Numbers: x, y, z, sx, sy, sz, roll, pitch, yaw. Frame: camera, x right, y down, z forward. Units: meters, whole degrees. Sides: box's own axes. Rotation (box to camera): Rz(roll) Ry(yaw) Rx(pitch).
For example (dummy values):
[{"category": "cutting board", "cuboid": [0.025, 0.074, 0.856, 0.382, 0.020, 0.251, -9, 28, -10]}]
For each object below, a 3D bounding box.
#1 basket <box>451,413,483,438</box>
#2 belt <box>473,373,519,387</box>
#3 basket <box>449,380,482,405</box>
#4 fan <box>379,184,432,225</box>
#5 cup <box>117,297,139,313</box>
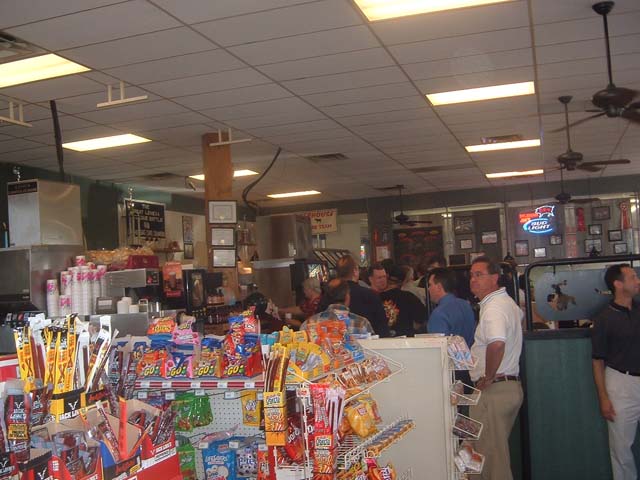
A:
[{"category": "basket", "cuboid": [1.041, 1.335, 3.831, 0.173, 0.214, 0.319, -3, -2, 19]}, {"category": "belt", "cuboid": [1.383, 1.099, 4.272, 0.212, 0.052, 0.158, -5, -9, 3]}, {"category": "basket", "cuboid": [1.054, 1.145, 3.982, 0.287, 0.114, 0.213, 6, 23, 10]}, {"category": "fan", "cuboid": [1.863, -0.830, 12.478, 1.169, 0.906, 1.135, -10, 12, -24]}, {"category": "cup", "cuboid": [-1.971, 0.672, 5.582, 0.251, 0.159, 0.149, -3, -2, -1]}]
